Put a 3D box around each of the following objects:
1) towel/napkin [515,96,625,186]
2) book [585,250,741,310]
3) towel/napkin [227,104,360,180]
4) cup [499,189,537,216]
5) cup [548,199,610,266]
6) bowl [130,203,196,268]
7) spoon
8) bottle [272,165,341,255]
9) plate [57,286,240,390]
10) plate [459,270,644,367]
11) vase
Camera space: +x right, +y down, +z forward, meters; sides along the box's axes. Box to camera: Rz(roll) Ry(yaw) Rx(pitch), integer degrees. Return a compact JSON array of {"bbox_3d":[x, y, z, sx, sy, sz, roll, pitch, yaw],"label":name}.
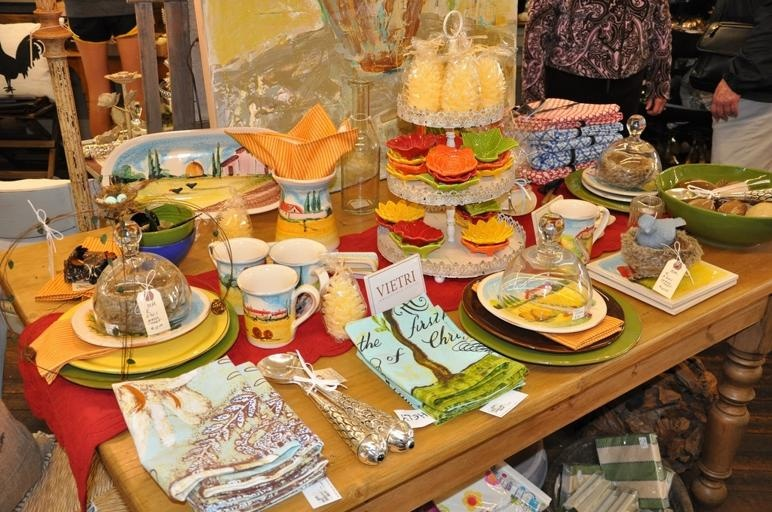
[{"bbox_3d":[0.653,-0.429,1.968,0.361,0.170,0.343,-16,30,-22],"label":"towel/napkin"},{"bbox_3d":[0.793,0.053,1.536,0.289,0.038,0.298,-16,28,-20],"label":"book"},{"bbox_3d":[-0.267,-0.387,1.701,0.311,0.114,0.279,-24,7,-38],"label":"towel/napkin"},{"bbox_3d":[0.456,-0.178,1.790,0.103,0.052,0.094,-11,32,-6],"label":"cup"},{"bbox_3d":[0.559,-0.068,1.585,0.197,0.147,0.145,2,27,21],"label":"cup"},{"bbox_3d":[-0.598,-0.068,1.478,0.175,0.125,0.176,2,22,-1],"label":"bowl"},{"bbox_3d":[-0.128,0.305,1.183,0.154,0.075,0.453,-21,34,-36],"label":"spoon"},{"bbox_3d":[-0.248,-0.143,1.630,0.242,0.209,0.228,1,17,-3],"label":"bottle"},{"bbox_3d":[-0.497,0.163,1.183,0.216,0.028,0.217,14,25,37],"label":"plate"},{"bbox_3d":[0.359,0.177,1.253,0.251,0.033,0.246,-26,38,-37],"label":"plate"},{"bbox_3d":[-0.246,-0.150,1.632,0.206,0.211,0.197,13,25,22],"label":"vase"}]
